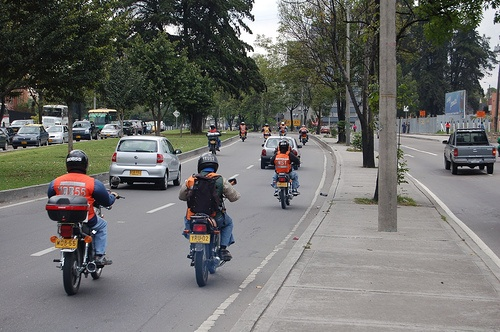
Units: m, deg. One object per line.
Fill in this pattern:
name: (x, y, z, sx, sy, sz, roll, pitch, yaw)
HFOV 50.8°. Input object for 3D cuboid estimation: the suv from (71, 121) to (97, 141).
suv: (-17.725, -3.814, 56.319, 2.320, 2.067, 4.085, -2, 6, -11)

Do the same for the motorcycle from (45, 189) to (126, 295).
motorcycle: (-2.941, 1.298, 9.253, 0.928, 1.142, 1.687, 0, 4, 2)

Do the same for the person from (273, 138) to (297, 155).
person: (1.363, -0.651, 20.312, 0.706, 0.560, 1.540, 1, 16, 5)

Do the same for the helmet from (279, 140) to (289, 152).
helmet: (1.129, -0.671, 17.517, 0.255, 0.371, 0.355, 3, 3, 3)

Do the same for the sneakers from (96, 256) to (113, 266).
sneakers: (-2.694, 1.738, 9.701, 0.321, 0.159, 0.114, -1, 22, -18)

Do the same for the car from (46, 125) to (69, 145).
car: (-18.534, -3.069, 50.583, 1.525, 1.693, 2.748, -2, 6, -5)

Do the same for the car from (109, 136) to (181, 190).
car: (-4.408, -0.151, 21.940, 2.816, 2.235, 1.771, -3, 6, -16)

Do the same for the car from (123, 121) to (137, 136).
car: (-15.502, -4.981, 67.604, 1.525, 1.679, 4.162, -2, 6, -12)

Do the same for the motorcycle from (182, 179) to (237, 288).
motorcycle: (-0.817, 1.433, 9.626, 0.737, 1.080, 1.526, 1, 7, 5)

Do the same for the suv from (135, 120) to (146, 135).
suv: (-15.951, -5.709, 75.618, 1.255, 1.811, 3.407, 1, 17, 3)

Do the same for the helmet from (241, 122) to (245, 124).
helmet: (-0.709, -4.438, 54.221, 0.337, 0.349, 0.347, -1, 6, -9)

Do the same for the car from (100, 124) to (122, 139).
car: (-16.000, -4.110, 60.099, 1.623, 1.400, 3.637, -1, 0, -2)

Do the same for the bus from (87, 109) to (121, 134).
bus: (-21.187, -7.067, 74.571, 2.885, 4.011, 8.333, 0, 3, 3)

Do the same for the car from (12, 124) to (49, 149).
car: (-18.899, -2.583, 45.216, 2.142, 1.825, 3.645, -2, 6, -9)

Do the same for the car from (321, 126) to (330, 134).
car: (13.335, -6.554, 93.377, 1.341, 1.102, 3.137, 0, 1, 5)

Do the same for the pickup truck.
pickup truck: (11.892, -0.857, 28.331, 1.643, 1.562, 3.337, 0, 9, 3)

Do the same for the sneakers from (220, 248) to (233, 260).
sneakers: (-0.465, 1.680, 10.163, 0.242, 0.181, 0.154, -1, 23, -9)

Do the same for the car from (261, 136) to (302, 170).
car: (1.360, -0.777, 29.890, 1.405, 1.245, 2.429, 0, 12, 6)

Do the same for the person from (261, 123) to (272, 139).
person: (1.542, -3.355, 48.795, 0.772, 0.861, 1.398, 1, 15, 4)

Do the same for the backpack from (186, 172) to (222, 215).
backpack: (-0.689, 0.555, 9.820, 0.633, 0.855, 0.438, 0, -1, 42)

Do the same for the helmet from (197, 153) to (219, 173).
helmet: (-0.804, -0.077, 10.003, 0.295, 0.377, 0.385, 3, 2, -6)

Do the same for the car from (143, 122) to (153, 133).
car: (-17.320, -6.649, 89.724, 1.558, 1.613, 3.118, 1, 14, 0)

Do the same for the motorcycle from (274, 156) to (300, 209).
motorcycle: (1.188, 0.181, 18.281, 0.953, 1.787, 2.666, 1, 19, 6)

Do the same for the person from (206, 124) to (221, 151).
person: (-2.486, -2.066, 37.043, 0.874, 1.092, 1.777, 0, 14, 2)
